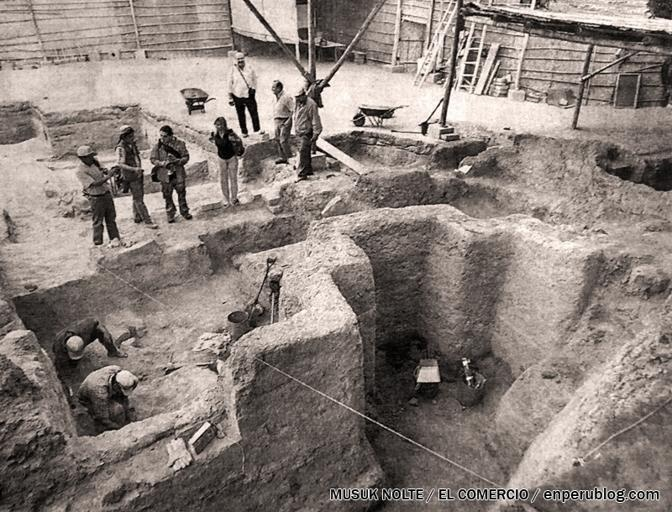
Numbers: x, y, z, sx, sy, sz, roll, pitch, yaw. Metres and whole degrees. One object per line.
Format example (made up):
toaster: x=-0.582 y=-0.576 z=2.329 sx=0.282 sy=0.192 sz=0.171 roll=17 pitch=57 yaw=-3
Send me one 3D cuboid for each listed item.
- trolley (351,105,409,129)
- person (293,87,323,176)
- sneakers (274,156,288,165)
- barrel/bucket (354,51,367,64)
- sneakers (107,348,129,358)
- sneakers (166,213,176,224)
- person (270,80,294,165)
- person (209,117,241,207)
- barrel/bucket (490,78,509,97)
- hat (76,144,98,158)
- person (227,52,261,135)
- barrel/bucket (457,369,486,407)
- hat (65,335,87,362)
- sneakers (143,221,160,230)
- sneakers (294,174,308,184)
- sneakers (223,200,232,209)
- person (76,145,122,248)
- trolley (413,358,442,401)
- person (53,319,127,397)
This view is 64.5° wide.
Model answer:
trolley: x=0.919 y=-3.238 z=12.230 sx=1.096 sy=0.461 sz=0.566 roll=3 pitch=45 yaw=9
person: x=-0.552 y=-2.342 z=10.282 sx=0.498 sy=1.744 sz=0.355 roll=-3 pitch=26 yaw=-3
sneakers: x=-1.163 y=-2.026 z=11.361 sx=0.338 sy=0.228 sz=0.114 roll=4 pitch=20 yaw=0
barrel/bucket: x=0.865 y=-7.376 z=19.763 sx=0.461 sy=0.409 sz=0.541 roll=10 pitch=28 yaw=23
sneakers: x=-3.291 y=1.493 z=8.054 sx=0.294 sy=0.218 sz=0.103 roll=-2 pitch=36 yaw=-10
sneakers: x=-3.063 y=-0.697 z=9.868 sx=0.115 sy=0.143 sz=0.102 roll=38 pitch=30 yaw=15
person: x=-1.085 y=-2.761 z=11.060 sx=0.439 sy=1.663 sz=0.726 roll=-4 pitch=26 yaw=-4
person: x=-2.004 y=-1.799 z=9.969 sx=0.518 sy=1.742 sz=0.909 roll=-6 pitch=26 yaw=-9
barrel/bucket: x=4.473 y=-4.625 z=14.711 sx=0.479 sy=0.450 sz=0.463 roll=-3 pitch=33 yaw=2
hat: x=-3.987 y=-1.639 z=8.459 sx=0.205 sy=0.188 sz=0.253 roll=-9 pitch=27 yaw=-15
person: x=-2.051 y=-3.629 z=11.788 sx=0.614 sy=1.724 sz=1.142 roll=-5 pitch=26 yaw=-7
barrel/bucket: x=1.902 y=1.884 z=7.533 sx=0.356 sy=0.457 sz=0.174 roll=-2 pitch=-24 yaw=36
hat: x=-3.643 y=1.285 z=7.415 sx=0.250 sy=0.349 sz=0.137 roll=-9 pitch=-2 yaw=-27
sneakers: x=-3.375 y=-0.553 z=9.713 sx=0.306 sy=0.137 sz=0.114 roll=13 pitch=31 yaw=20
sneakers: x=-0.701 y=-1.531 z=10.570 sx=0.328 sy=0.140 sz=0.110 roll=-12 pitch=29 yaw=-27
sneakers: x=-2.116 y=-0.991 z=10.281 sx=0.119 sy=0.061 sz=0.166 roll=-6 pitch=27 yaw=-1
person: x=-3.909 y=-0.965 z=8.783 sx=0.500 sy=1.686 sz=0.445 roll=-12 pitch=28 yaw=-21
trolley: x=1.334 y=1.783 z=7.725 sx=0.394 sy=0.516 sz=0.414 roll=4 pitch=26 yaw=12
person: x=-3.697 y=1.304 z=7.680 sx=0.713 sy=0.672 sz=0.972 roll=34 pitch=55 yaw=25
